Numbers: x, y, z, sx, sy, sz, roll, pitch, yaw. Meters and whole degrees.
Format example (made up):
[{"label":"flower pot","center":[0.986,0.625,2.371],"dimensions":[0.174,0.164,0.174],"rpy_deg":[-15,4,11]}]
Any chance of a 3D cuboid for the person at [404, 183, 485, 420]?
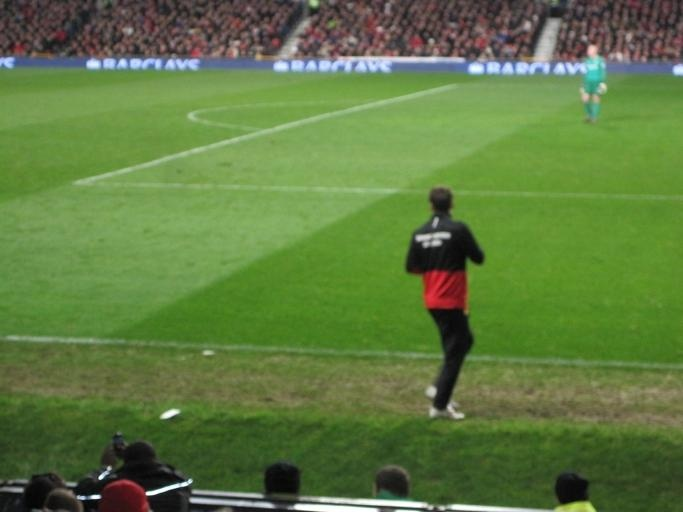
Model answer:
[{"label":"person","center":[1.694,0.809,26.311],"dimensions":[1.218,3.851,0.359],"rpy_deg":[5,0,2]}]
